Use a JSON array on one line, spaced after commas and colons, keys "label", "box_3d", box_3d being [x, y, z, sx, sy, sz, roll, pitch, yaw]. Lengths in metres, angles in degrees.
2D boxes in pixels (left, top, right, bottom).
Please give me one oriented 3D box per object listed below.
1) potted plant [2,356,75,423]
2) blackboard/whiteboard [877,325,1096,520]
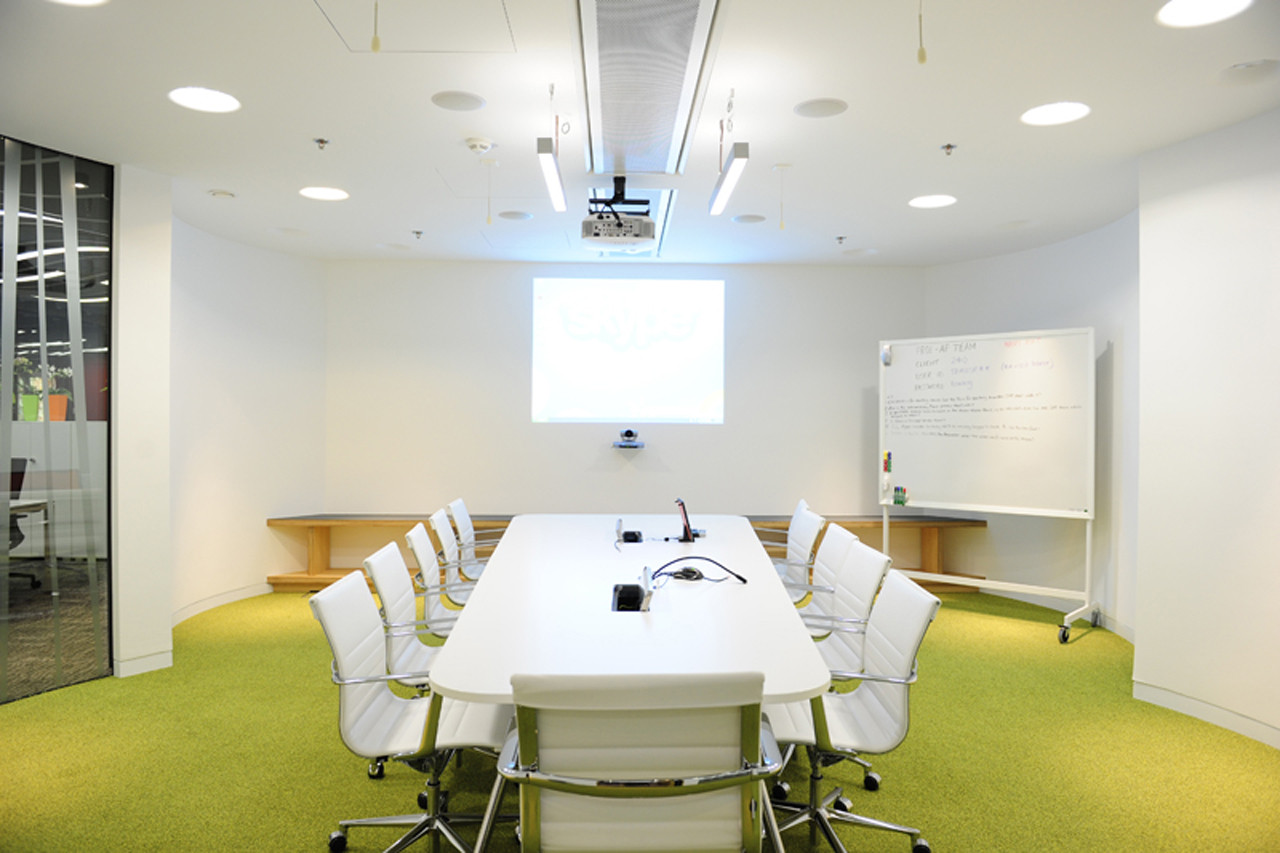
[{"label": "potted plant", "box_3d": [-4.192, -0.243, 5.703, 0.263, 0.389, 0.413, 0, 0, 9]}, {"label": "blackboard/whiteboard", "box_3d": [3.169, -0.038, 7.386, 1.906, 1.613, 0.200, -1, 0, 41]}]
